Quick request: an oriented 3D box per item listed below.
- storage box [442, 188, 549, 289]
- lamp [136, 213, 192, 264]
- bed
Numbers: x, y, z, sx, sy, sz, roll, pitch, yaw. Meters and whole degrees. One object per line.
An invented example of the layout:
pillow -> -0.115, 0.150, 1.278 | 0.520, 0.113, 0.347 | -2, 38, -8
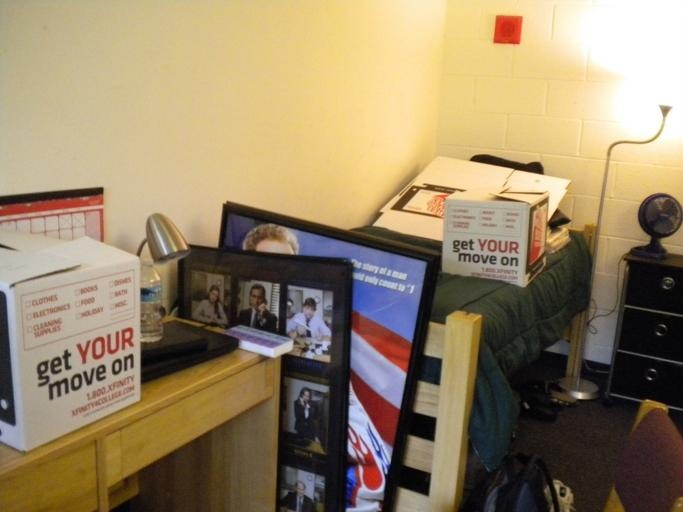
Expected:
storage box -> 0.700, -0.124, 2.517 | 0.416, 0.424, 0.430 | 8, 13, 30
lamp -> -0.525, -0.058, 1.585 | 0.087, 0.135, 0.193 | -10, 19, -44
bed -> 0.709, 0.343, 2.380 | 0.895, 0.352, 1.260 | 16, 31, 30
